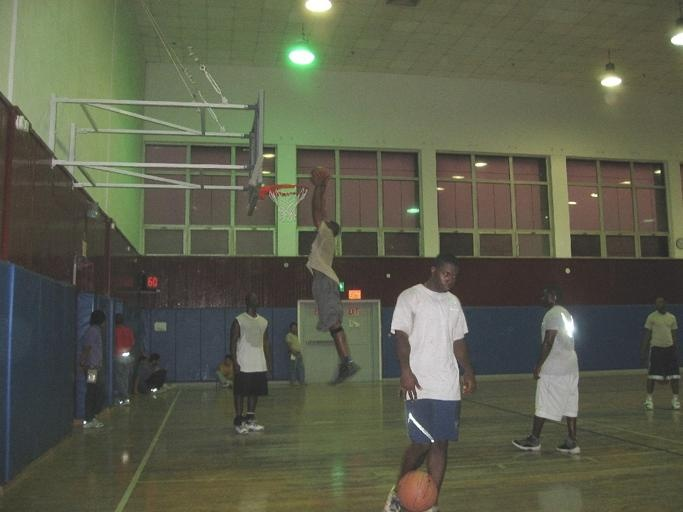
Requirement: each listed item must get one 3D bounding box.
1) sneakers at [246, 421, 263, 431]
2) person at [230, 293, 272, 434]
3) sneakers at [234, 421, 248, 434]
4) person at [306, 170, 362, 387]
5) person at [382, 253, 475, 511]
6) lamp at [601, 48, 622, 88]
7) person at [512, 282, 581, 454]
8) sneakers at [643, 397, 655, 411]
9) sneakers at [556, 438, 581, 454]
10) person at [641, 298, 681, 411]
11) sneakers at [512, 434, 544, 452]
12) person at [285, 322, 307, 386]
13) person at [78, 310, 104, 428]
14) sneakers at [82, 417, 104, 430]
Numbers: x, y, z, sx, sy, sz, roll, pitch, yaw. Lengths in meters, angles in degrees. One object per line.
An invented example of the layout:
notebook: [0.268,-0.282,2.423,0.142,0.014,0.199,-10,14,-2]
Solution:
sneakers: [-1.388,2.702,10.854,0.247,0.123,0.136,1,0,-4]
person: [-1.437,1.702,10.731,0.572,2.201,0.583,-1,-3,-9]
sneakers: [-1.574,2.688,10.657,0.167,0.080,0.202,-1,41,-25]
person: [-0.135,0.259,8.176,0.546,2.605,0.844,-1,-3,-2]
person: [0.985,1.238,7.490,0.863,2.515,0.423,-1,-3,3]
lamp: [6.069,-4.335,15.461,0.362,0.700,0.364,3,-5,-42]
person: [2.974,1.593,9.730,0.734,2.301,0.987,-2,-3,19]
sneakers: [5.575,2.680,12.372,0.238,0.242,0.199,3,1,-22]
sneakers: [3.168,2.643,9.480,0.142,0.200,0.358,4,-6,-36]
person: [5.911,1.788,12.662,0.616,1.995,1.165,-2,-3,27]
sneakers: [2.619,2.658,9.714,0.484,0.314,0.189,1,-11,20]
person: [-1.182,2.437,16.988,0.437,1.553,0.655,-1,-3,-1]
person: [-4.194,1.887,11.482,0.348,1.933,1.048,0,-3,-16]
sneakers: [-4.133,2.799,11.318,0.304,0.143,0.114,3,-4,-14]
